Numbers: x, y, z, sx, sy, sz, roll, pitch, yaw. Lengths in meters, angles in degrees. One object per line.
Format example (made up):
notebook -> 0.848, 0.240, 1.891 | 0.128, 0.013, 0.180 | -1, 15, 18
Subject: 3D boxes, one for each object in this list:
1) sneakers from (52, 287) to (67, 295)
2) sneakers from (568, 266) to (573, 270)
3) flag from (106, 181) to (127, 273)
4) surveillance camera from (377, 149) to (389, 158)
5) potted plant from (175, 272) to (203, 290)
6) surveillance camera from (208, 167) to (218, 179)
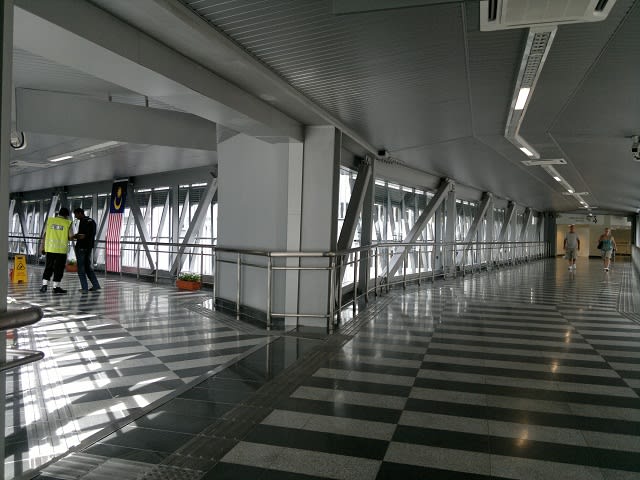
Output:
sneakers -> -6.793, 1.314, 10.114 | 0.455, 0.174, 0.145 | 2, -2, -18
sneakers -> 13.771, 1.486, 20.981 | 0.291, 0.244, 0.290 | 4, 3, 29
flag -> -8.436, -0.697, 15.919 | 0.743, 4.194, 3.149 | 1, 0, -28
surveillance camera -> 1.647, -2.268, 9.952 | 0.131, 0.118, 0.399 | 3, 0, 24
potted plant -> -4.002, 1.231, 11.613 | 0.721, 0.557, 0.603 | 1, 0, -14
surveillance camera -> -3.698, -2.364, 13.290 | 0.183, 0.437, 0.374 | 1, 0, -35
